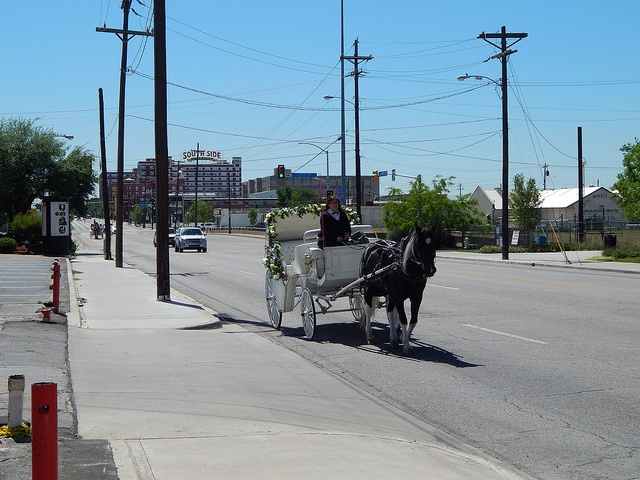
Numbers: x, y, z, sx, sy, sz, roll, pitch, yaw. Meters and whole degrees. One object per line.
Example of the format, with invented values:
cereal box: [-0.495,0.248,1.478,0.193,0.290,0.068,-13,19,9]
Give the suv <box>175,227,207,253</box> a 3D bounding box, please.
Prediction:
suv: [-9.323,-0.081,53.224,1.306,1.200,2.904,0,-4,-16]

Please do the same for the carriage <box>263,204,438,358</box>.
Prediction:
carriage: [0.816,0.606,14.879,3.074,2.903,5.333,0,0,-20]

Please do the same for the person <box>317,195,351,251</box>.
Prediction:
person: [0.302,-0.313,14.774,0.710,1.075,0.661,-8,10,-36]
